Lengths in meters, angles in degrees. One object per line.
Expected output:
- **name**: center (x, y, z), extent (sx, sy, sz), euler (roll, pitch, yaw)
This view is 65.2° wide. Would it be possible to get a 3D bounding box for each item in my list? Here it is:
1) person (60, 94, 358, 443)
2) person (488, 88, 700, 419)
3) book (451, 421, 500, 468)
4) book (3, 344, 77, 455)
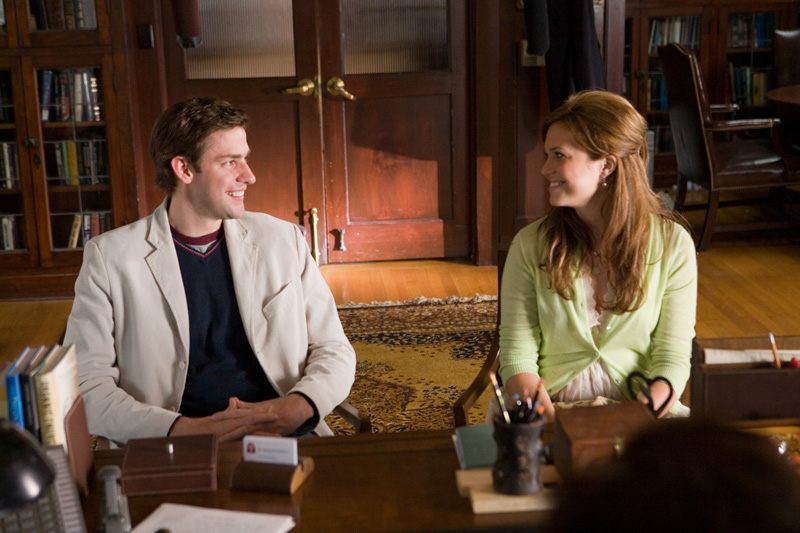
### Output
- **person**: center (-0.592, 0.005, 1.935), extent (0.826, 1.063, 0.511), euler (1, 9, 12)
- **person**: center (0.602, -0.059, 1.934), extent (0.583, 0.962, 0.400), euler (2, 10, 21)
- **book**: center (0.165, 0.377, 1.322), extent (0.087, 0.022, 0.092), euler (-5, 34, -5)
- **book**: center (-0.714, 0.259, 1.288), extent (0.080, 0.226, 0.172), euler (1, 7, 9)
